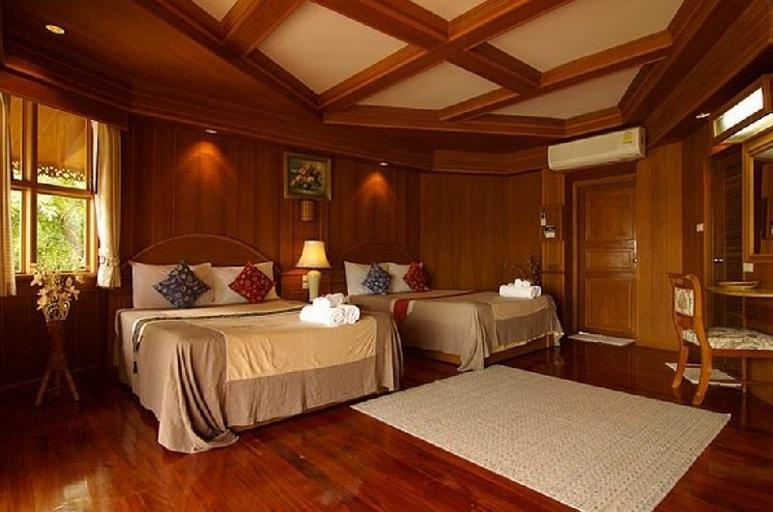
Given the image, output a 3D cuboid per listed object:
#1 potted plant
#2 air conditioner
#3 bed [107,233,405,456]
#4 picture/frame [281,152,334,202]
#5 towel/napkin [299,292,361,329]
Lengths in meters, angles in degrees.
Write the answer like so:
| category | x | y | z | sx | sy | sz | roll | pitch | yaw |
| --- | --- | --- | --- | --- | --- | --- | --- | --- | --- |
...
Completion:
| category | x | y | z | sx | sy | sz | roll | pitch | yaw |
| --- | --- | --- | --- | --- | --- | --- | --- | --- | --- |
| potted plant | -3.542 | 0.810 | 5.441 | 0.429 | 1.391 | 0.721 | -2 | 2 | -33 |
| air conditioner | 3.249 | -1.718 | 7.740 | 0.401 | 0.475 | 1.393 | 9 | -11 | -44 |
| bed | -1.842 | 0.902 | 5.507 | 2.217 | 1.569 | 2.469 | 0 | 0 | -43 |
| picture/frame | -1.216 | -1.169 | 7.484 | 0.759 | 0.621 | 0.055 | -2 | 4 | -42 |
| towel/napkin | -0.631 | 0.566 | 5.285 | 0.450 | 0.212 | 0.349 | -4 | -6 | 43 |
